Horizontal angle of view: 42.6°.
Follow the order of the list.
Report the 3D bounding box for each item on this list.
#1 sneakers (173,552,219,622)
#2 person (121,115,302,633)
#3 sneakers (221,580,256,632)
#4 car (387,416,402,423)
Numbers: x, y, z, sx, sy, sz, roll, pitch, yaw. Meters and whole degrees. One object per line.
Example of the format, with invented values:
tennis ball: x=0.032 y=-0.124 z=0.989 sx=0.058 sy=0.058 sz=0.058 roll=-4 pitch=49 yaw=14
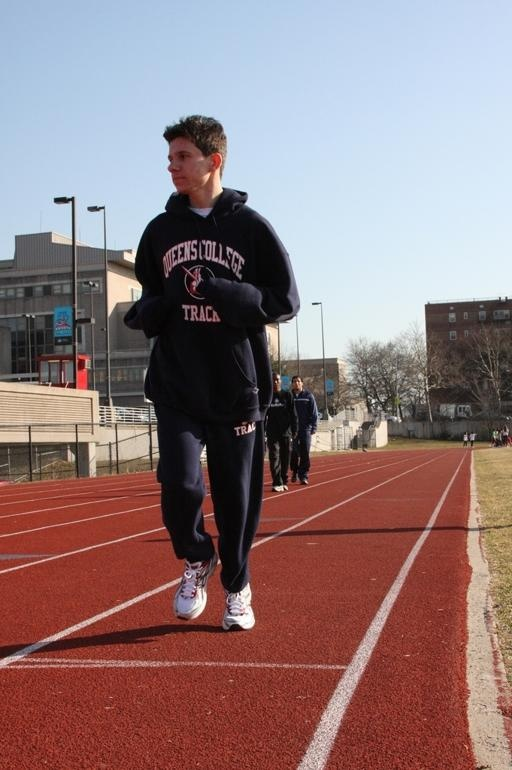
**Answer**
sneakers: x=-0.284 y=0.948 z=3.038 sx=0.117 sy=0.373 sz=0.161 roll=11 pitch=-16 yaw=12
person: x=-0.185 y=-0.049 z=2.929 sx=0.758 sy=2.230 sz=0.596 roll=-3 pitch=0 yaw=-10
sneakers: x=-0.083 y=0.994 z=2.875 sx=0.077 sy=0.112 sz=0.239 roll=-2 pitch=-7 yaw=5
car: x=17.210 y=4.299 z=81.841 sx=1.509 sy=0.701 sz=5.414 roll=-4 pitch=0 yaw=11
